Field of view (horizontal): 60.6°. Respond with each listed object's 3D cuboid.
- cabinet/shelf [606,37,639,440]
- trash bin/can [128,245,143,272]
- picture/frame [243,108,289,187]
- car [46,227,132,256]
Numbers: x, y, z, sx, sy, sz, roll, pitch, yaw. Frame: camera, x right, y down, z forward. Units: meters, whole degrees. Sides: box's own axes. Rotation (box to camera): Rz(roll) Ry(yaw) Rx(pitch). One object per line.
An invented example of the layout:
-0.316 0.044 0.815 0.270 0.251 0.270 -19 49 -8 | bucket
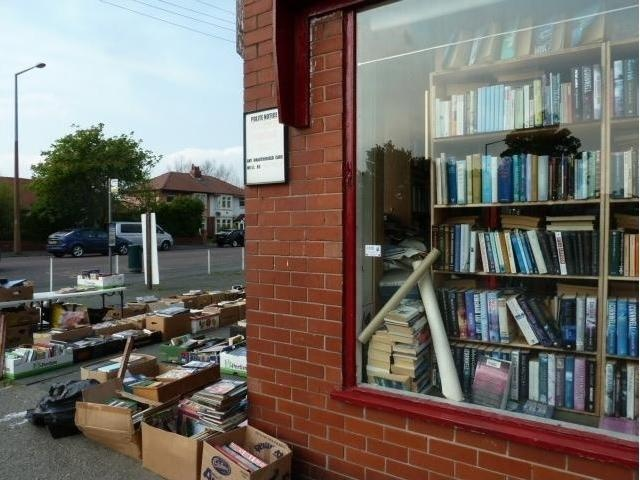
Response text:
1.905 -0.041 3.505 0.268 2.475 0.217 -2 3 29 | cabinet/shelf
-5.646 0.603 16.842 0.404 0.580 0.540 -4 3 -17 | trash bin/can
-0.436 -0.736 4.299 0.395 0.583 0.051 -2 3 30 | picture/frame
-9.619 0.124 22.955 1.179 0.814 2.466 1 5 34 | car
